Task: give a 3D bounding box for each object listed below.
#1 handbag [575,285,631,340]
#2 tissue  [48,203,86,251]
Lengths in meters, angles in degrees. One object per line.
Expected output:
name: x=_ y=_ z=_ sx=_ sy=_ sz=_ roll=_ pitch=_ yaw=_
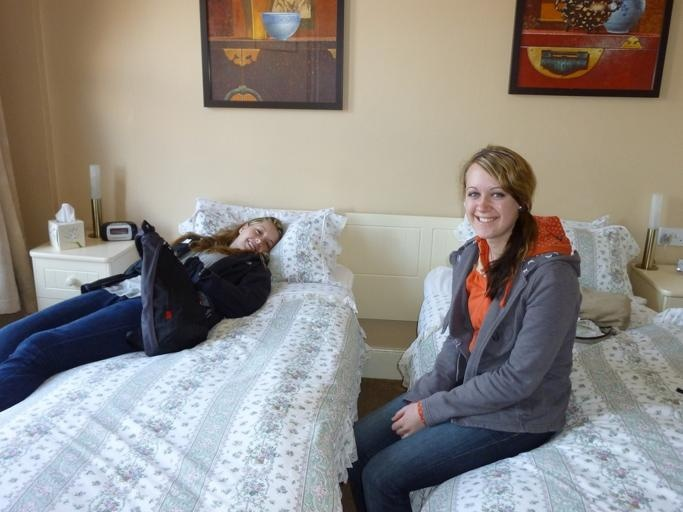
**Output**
handbag: x=1.213 y=0.273 z=2.243 sx=0.203 sy=0.186 sz=0.220 roll=-1 pitch=24 yaw=-39
tissue : x=-1.697 y=-0.169 z=2.949 sx=0.198 sy=0.306 sz=0.180 roll=18 pitch=19 yaw=19
